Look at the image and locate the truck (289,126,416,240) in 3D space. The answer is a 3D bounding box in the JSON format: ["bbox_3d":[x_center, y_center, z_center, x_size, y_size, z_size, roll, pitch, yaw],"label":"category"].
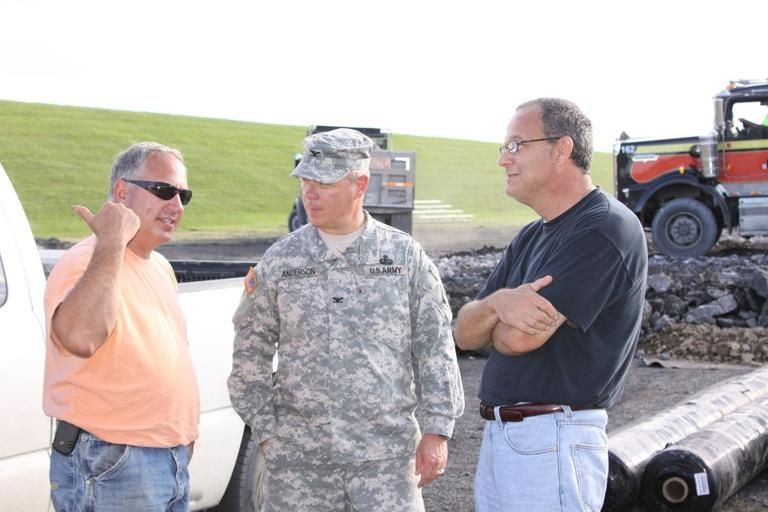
[{"bbox_3d":[-0.065,-1.601,19.112,3.418,2.756,2.379,-1,3,15],"label":"truck"}]

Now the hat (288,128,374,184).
[{"bbox_3d":[-0.334,-0.561,5.088,0.412,0.186,0.288,-8,13,-41],"label":"hat"}]

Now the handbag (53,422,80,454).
[{"bbox_3d":[-1.627,0.939,4.663,0.117,0.180,0.050,21,8,3],"label":"handbag"}]
